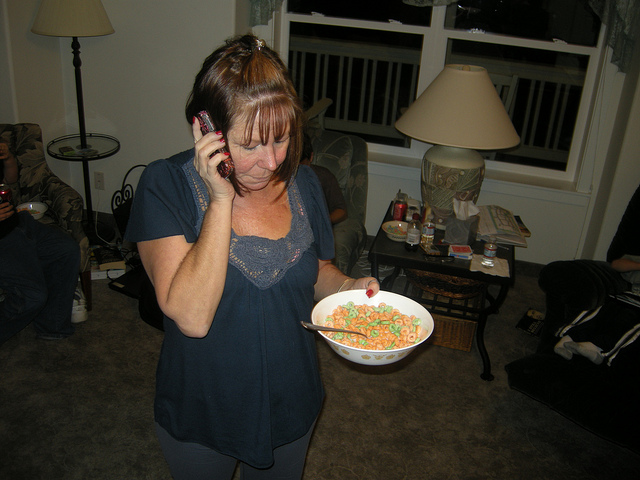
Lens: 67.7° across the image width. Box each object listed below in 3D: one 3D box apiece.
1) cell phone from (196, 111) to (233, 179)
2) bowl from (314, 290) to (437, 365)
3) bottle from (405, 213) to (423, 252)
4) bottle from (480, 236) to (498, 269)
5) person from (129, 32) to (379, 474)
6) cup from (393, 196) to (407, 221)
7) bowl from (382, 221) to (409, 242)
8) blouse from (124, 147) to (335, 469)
[{"bbox_3d":[-0.333,-0.312,1.503,0.105,0.053,0.220,14,-19,-10],"label":"cell phone"},{"bbox_3d":[0.129,0.364,1.915,0.530,0.194,0.543,-6,-18,-2],"label":"bowl"},{"bbox_3d":[0.606,-0.056,3.089,0.101,0.249,0.104,3,25,-1],"label":"bottle"},{"bbox_3d":[1.053,0.077,2.966,0.078,0.206,0.078,4,18,-1],"label":"bottle"},{"bbox_3d":[-0.239,0.120,1.577,0.672,1.463,0.444,-9,24,-24],"label":"person"},{"bbox_3d":[0.586,-0.224,3.482,0.087,0.138,0.134,5,23,10],"label":"cup"},{"bbox_3d":[0.507,-0.089,3.220,0.171,0.118,0.315,5,24,7],"label":"bowl"},{"bbox_3d":[-0.343,0.277,1.751,0.613,1.153,0.585,-4,22,-18],"label":"blouse"}]
